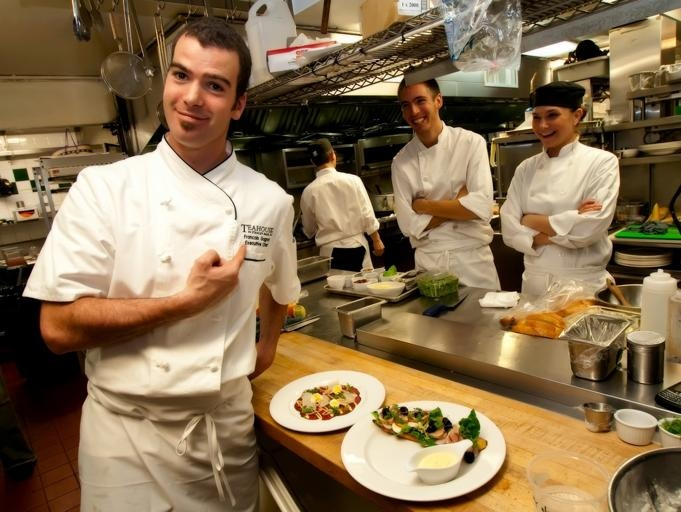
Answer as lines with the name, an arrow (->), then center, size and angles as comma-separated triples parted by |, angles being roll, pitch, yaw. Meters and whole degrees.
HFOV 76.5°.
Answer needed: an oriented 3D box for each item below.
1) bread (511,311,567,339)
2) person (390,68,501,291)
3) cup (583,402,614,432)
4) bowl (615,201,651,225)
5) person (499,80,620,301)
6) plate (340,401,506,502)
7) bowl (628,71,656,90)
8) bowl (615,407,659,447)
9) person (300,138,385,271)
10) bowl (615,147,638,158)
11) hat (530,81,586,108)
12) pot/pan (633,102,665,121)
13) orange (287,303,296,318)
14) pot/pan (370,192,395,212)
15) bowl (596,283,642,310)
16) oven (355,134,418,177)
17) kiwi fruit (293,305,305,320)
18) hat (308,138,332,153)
bread -> 0.844, 0.302, 1.863 | 0.204, 0.073, 0.175 | 3, 15, 19
person -> 0.713, -0.446, 2.947 | 0.744, 1.388, 0.494 | 0, 16, 10
cup -> 0.787, 0.495, 1.325 | 0.101, 0.067, 0.076 | 1, -3, -38
bowl -> 2.630, -0.364, 3.881 | 0.269, 0.166, 0.257 | 1, 0, 0
person -> 1.343, -0.376, 2.705 | 0.664, 1.320, 0.436 | 12, 22, 42
plate -> 0.245, 0.585, 1.314 | 0.486, 0.075, 0.349 | -2, 14, 0
bowl -> 2.645, -1.523, 3.803 | 0.299, 0.106, 0.197 | -14, 16, -43
bowl -> 0.870, 0.512, 1.288 | 0.113, 0.060, 0.105 | -1, 9, 0
person -> -0.007, -0.507, 4.511 | 0.832, 1.347, 0.410 | -4, 16, -3
bowl -> 2.520, -0.882, 3.823 | 0.144, 0.048, 0.135 | -1, 1, 0
hat -> 1.314, -0.926, 2.584 | 0.234, 0.104, 0.191 | -11, 20, -31
pot/pan -> 2.778, -1.298, 3.944 | 0.075, 0.230, 0.268 | -28, 25, -38
orange -> -0.274, 0.308, 2.402 | 0.068, 0.064, 0.062 | 1, -7, -16
pot/pan -> 0.567, -0.700, 5.788 | 0.292, 0.180, 0.267 | -2, 5, -17
bowl -> 1.235, 0.190, 1.907 | 0.153, 0.088, 0.143 | -14, 14, 4
oven -> 0.350, -1.444, 6.187 | 1.209, 0.515, 0.850 | -20, 26, -40
kiwi fruit -> -0.224, 0.321, 2.445 | 0.071, 0.059, 0.066 | 0, 1, 9
hat -> -0.197, -1.112, 4.418 | 0.190, 0.132, 0.261 | 5, 16, 26
